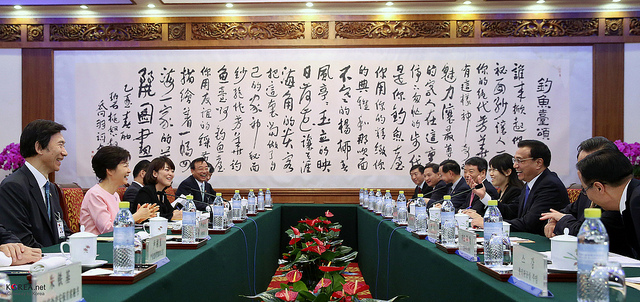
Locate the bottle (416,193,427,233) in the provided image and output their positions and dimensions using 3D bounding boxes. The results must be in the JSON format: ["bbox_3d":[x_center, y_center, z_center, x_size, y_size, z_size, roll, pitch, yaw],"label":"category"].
[{"bbox_3d":[1.269,0.762,5.112,0.162,0.464,0.160,0,-10,0],"label":"bottle"}]

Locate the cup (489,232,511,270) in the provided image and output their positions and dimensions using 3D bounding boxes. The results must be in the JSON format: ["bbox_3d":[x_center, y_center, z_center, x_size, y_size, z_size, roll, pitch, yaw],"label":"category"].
[{"bbox_3d":[1.858,1.009,4.222,0.294,0.348,0.264,9,-16,-3],"label":"cup"}]

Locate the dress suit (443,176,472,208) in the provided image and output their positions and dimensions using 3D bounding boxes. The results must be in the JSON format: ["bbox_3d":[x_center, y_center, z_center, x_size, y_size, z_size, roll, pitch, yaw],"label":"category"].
[{"bbox_3d":[2.240,0.626,6.835,0.462,0.662,0.597,-1,2,7],"label":"dress suit"}]

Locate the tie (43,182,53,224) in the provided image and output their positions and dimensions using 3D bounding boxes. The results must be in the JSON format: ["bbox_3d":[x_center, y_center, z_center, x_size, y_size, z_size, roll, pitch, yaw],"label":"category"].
[{"bbox_3d":[-3.179,0.601,4.852,0.086,0.468,0.084,0,-6,-15],"label":"tie"}]

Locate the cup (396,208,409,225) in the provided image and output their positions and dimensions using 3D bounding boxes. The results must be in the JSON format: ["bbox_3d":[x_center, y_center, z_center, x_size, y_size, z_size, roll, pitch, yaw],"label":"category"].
[{"bbox_3d":[1.118,0.890,5.573,0.219,0.201,0.193,0,-8,-1],"label":"cup"}]

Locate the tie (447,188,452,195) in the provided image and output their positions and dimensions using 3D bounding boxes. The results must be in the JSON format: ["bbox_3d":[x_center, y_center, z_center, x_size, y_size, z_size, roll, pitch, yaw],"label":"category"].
[{"bbox_3d":[2.118,0.655,6.742,0.027,0.078,0.096,17,-8,-17],"label":"tie"}]

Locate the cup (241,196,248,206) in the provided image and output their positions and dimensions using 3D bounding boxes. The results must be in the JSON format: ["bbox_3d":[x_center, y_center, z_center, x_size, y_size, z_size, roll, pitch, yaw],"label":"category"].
[{"bbox_3d":[-1.045,0.733,5.920,0.139,0.135,0.157,1,-8,-10],"label":"cup"}]

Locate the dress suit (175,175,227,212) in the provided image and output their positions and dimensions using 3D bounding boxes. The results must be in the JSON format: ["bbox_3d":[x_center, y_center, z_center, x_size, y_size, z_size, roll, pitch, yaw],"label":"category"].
[{"bbox_3d":[-2.297,0.887,7.362,0.638,0.814,0.370,24,30,1],"label":"dress suit"}]
